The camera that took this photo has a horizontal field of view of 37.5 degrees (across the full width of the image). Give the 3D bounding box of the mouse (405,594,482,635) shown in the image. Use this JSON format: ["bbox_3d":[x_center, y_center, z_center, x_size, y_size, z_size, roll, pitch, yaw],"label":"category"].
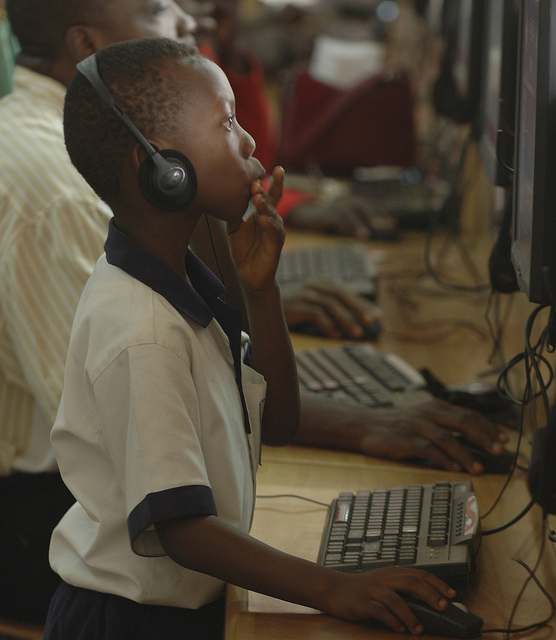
[{"bbox_3d":[0.171,0.293,0.841,0.066,0.019,0.035,15,10,13],"label":"mouse"}]

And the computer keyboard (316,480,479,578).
[{"bbox_3d":[0.158,0.267,1.036,0.188,0.053,0.243,-2,9,10],"label":"computer keyboard"}]

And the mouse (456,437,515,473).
[{"bbox_3d":[0.298,0.200,1.196,0.086,0.016,0.043,15,39,19],"label":"mouse"}]

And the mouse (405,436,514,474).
[{"bbox_3d":[0.281,0.199,1.198,0.104,0.024,0.056,1,22,0],"label":"mouse"}]

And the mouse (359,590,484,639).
[{"bbox_3d":[0.159,0.304,0.847,0.100,0.023,0.051,0,8,3],"label":"mouse"}]
